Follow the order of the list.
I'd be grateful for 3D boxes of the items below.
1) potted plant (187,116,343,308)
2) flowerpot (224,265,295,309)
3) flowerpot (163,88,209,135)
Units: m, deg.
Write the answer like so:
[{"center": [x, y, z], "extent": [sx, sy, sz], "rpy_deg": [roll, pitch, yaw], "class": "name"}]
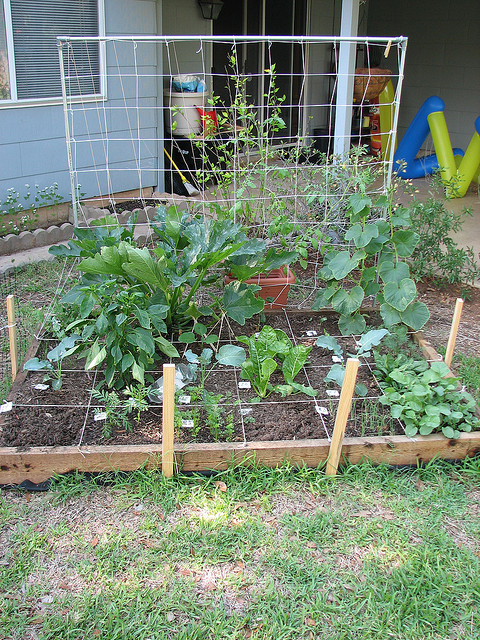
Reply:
[{"center": [0.034, -0.363, 2.662], "extent": [0.481, 0.639, 0.510], "rpy_deg": [-19, 10, -21], "class": "potted plant"}, {"center": [0.195, -0.267, 2.952], "extent": [0.393, 0.221, 0.305], "rpy_deg": [-1, 22, 1], "class": "flowerpot"}, {"center": [-0.702, -2.393, 5.327], "extent": [0.540, 0.557, 0.698], "rpy_deg": [3, 18, 9], "class": "flowerpot"}]
